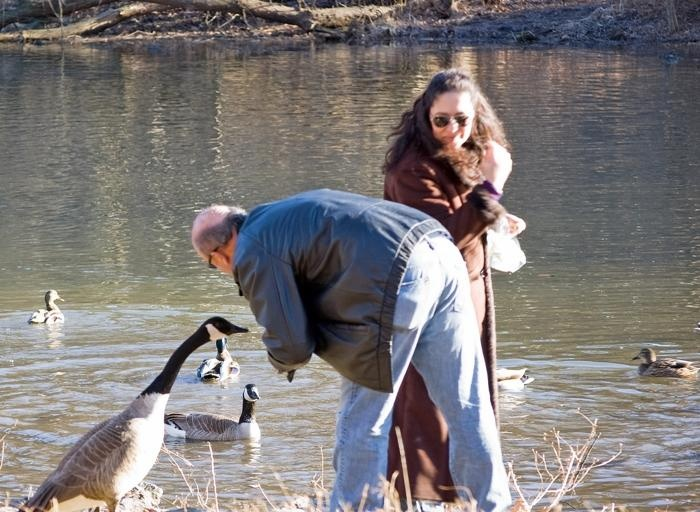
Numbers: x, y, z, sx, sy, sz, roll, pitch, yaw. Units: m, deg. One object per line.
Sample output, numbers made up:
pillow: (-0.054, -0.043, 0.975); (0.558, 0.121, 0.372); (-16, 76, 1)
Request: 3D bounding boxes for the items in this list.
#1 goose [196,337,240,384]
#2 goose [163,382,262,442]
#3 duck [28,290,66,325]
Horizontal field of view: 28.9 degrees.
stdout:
goose: (-2.277, 1.816, 22.695); (0.641, 0.582, 0.975); (5, 10, 17)
goose: (-2.129, 2.553, 20.953); (1.941, 1.103, 0.617); (4, 8, 6)
duck: (-5.285, 0.901, 23.859); (0.830, 0.554, 0.488); (-11, 15, -33)
